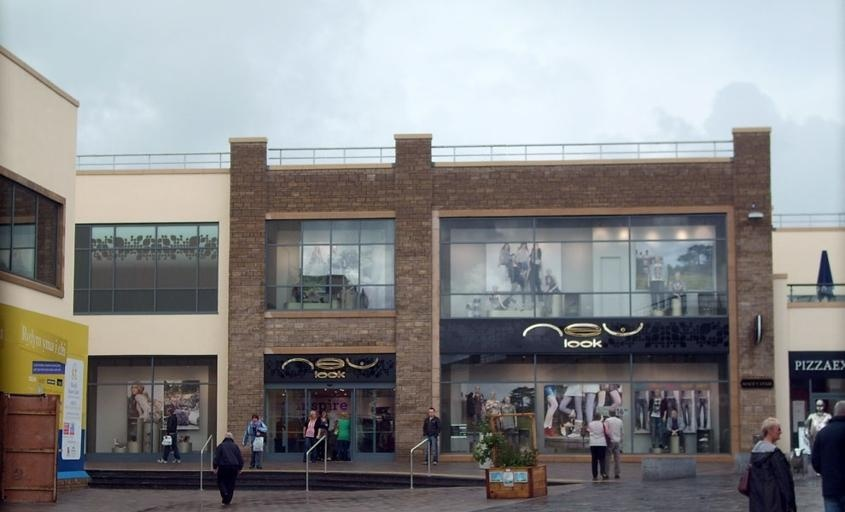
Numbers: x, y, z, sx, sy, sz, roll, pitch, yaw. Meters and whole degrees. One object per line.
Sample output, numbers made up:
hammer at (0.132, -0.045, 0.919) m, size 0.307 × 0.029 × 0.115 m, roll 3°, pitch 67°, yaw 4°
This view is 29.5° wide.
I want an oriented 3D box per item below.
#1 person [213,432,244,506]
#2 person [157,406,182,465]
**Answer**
person at (-7.460, 8.142, 61.573) m, size 1.221 × 2.661 × 1.199 m, roll -1°, pitch 0°, yaw 2°
person at (-11.297, 7.911, 71.650) m, size 0.873 × 2.571 × 1.343 m, roll 0°, pitch -10°, yaw -9°
